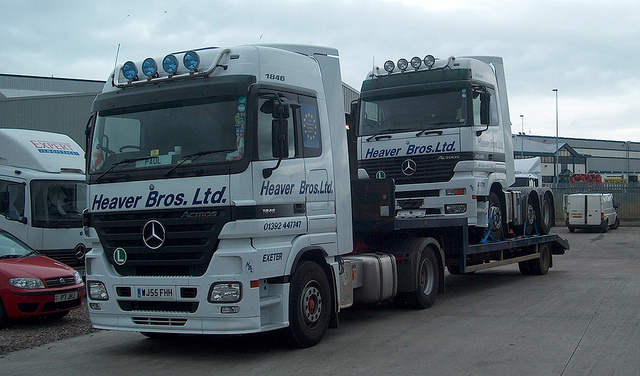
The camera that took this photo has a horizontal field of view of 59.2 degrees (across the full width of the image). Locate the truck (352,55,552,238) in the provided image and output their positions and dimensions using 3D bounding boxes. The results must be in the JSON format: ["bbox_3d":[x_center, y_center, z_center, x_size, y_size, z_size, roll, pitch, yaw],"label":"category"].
[{"bbox_3d":[4.513,-0.963,17.795,3.054,3.776,7.386,-5,-8,34],"label":"truck"}]

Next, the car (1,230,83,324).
[{"bbox_3d":[-6.682,2.333,13.423,2.585,1.214,1.247,-3,-2,29],"label":"car"}]

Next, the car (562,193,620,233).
[{"bbox_3d":[18.317,1.615,38.015,2.310,1.899,3.896,-1,2,30],"label":"car"}]
